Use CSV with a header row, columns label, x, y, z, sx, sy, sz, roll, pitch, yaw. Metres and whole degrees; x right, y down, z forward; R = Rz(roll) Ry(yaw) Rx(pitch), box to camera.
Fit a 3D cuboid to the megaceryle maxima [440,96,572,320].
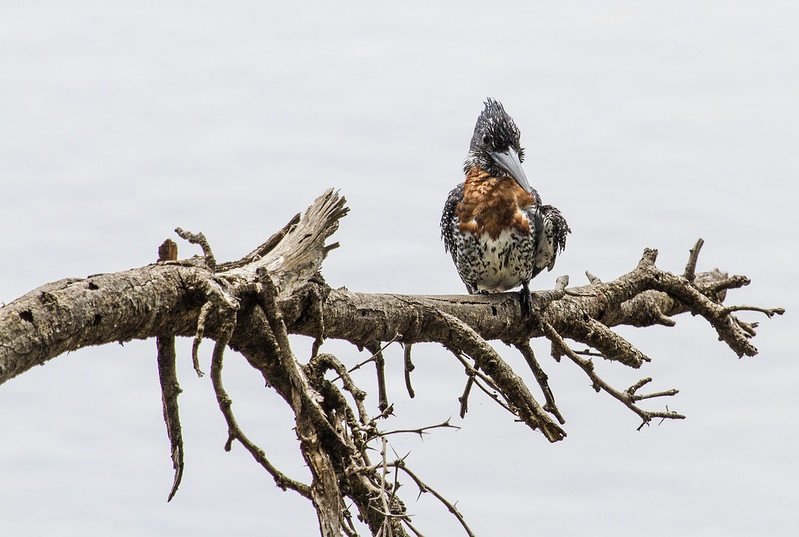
label,x,y,z,sx,sy,sz,roll,pitch,yaw
megaceryle maxima,0.776,-0.460,11.336,0.960,1.659,0.657,-4,-29,5
